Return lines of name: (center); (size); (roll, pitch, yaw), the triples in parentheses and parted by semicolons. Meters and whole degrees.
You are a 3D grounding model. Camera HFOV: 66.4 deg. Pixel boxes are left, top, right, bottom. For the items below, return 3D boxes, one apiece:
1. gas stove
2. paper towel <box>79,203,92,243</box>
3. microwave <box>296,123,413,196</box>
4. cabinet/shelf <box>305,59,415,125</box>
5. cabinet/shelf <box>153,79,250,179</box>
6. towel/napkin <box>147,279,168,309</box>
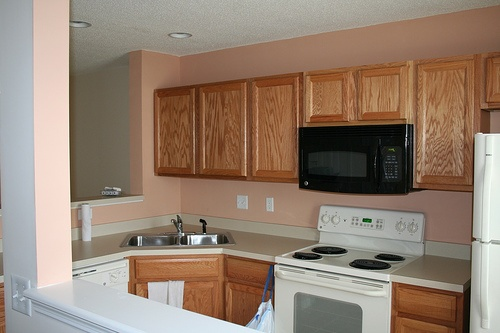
gas stove: (0.848, 0.584, 3.028); (0.925, 0.323, 0.693); (2, 10, 32)
paper towel: (-1.490, 0.521, 3.531); (0.149, 0.340, 0.090); (-2, 1, 10)
microwave: (0.801, -0.051, 2.966); (0.941, 0.515, 0.566); (0, -2, 34)
cabinet/shelf: (0.937, -0.573, 3.107); (0.982, 0.473, 0.373); (6, 15, 43)
cabinet/shelf: (-0.392, -0.371, 3.922); (1.302, 0.923, 0.452); (2, 5, 34)
towel/napkin: (-0.785, 1.074, 3.253); (0.173, 0.189, 0.049); (-2, 5, -11)
